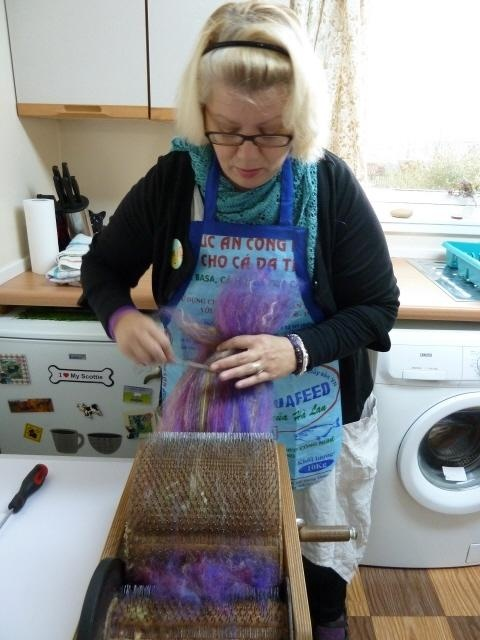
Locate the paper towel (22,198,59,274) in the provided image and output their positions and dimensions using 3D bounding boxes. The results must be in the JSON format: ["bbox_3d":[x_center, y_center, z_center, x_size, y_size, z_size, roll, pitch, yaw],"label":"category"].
[{"bbox_3d":[-0.678,-0.284,1.639,0.119,0.247,0.116,-5,19,-9],"label":"paper towel"}]
